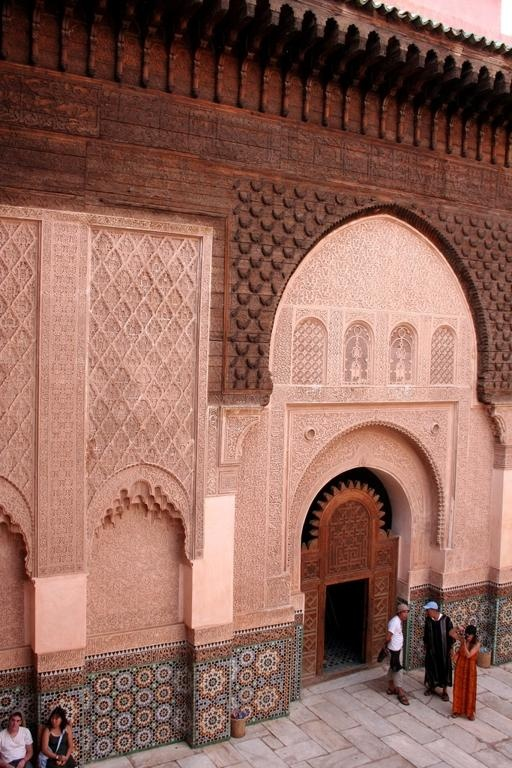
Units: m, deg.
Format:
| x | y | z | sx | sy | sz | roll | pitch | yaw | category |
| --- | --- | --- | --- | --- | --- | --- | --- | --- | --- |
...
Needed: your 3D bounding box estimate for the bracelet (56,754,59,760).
| x | y | z | sx | sy | sz | roll | pitch | yaw | category |
| --- | --- | --- | --- | --- | --- | --- | --- | --- | --- |
| -1.026 | 1.928 | 4.080 | 0.028 | 0.026 | 0.007 | 1 | -5 | -4 | bracelet |
